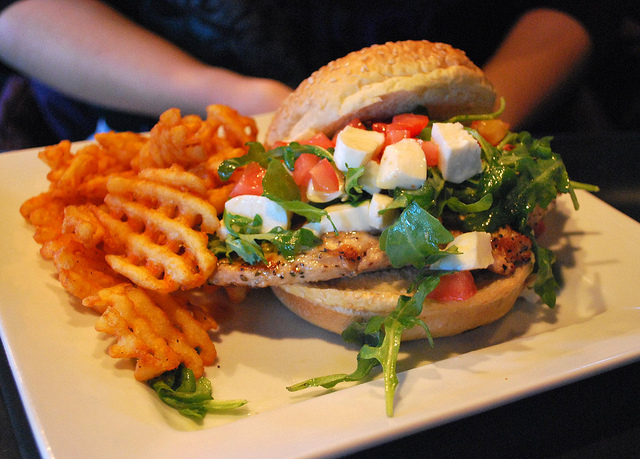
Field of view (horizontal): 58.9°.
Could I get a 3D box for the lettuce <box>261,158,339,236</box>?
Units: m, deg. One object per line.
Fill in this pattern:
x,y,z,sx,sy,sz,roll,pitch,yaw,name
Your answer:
-0.080,-0.184,3.115,0.237,0.176,0.789,1,-10,17,lettuce

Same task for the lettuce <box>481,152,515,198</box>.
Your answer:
0.929,-0.294,3.040,0.052,0.184,0.185,21,15,-1,lettuce

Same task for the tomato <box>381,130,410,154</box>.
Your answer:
0.410,-0.500,3.099,0.127,0.131,0.130,15,6,-44,tomato

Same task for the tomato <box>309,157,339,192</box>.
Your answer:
0.025,-0.283,2.927,0.130,0.175,0.069,-6,7,-14,tomato

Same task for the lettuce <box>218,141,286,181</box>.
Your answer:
-0.392,-0.363,3.127,0.257,0.079,0.257,-31,28,-26,lettuce

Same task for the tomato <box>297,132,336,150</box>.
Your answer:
-0.014,-0.477,3.126,0.119,0.076,0.121,3,8,27,tomato

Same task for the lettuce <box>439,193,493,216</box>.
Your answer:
0.768,-0.124,2.986,0.300,0.097,0.109,-4,27,-5,lettuce

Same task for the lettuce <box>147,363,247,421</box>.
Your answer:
-0.629,0.802,2.740,0.267,0.089,0.313,35,31,31,lettuce

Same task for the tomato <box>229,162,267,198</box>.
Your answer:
-0.370,-0.264,3.048,0.073,0.181,0.179,43,47,-6,tomato

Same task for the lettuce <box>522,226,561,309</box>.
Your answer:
1.250,0.227,3.137,0.078,0.407,0.262,-23,21,45,lettuce

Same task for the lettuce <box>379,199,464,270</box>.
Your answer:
0.442,0.026,2.725,0.427,0.099,0.345,-15,62,-30,lettuce

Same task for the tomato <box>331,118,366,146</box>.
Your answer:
0.163,-0.565,3.231,0.100,0.183,0.177,33,6,-9,tomato
